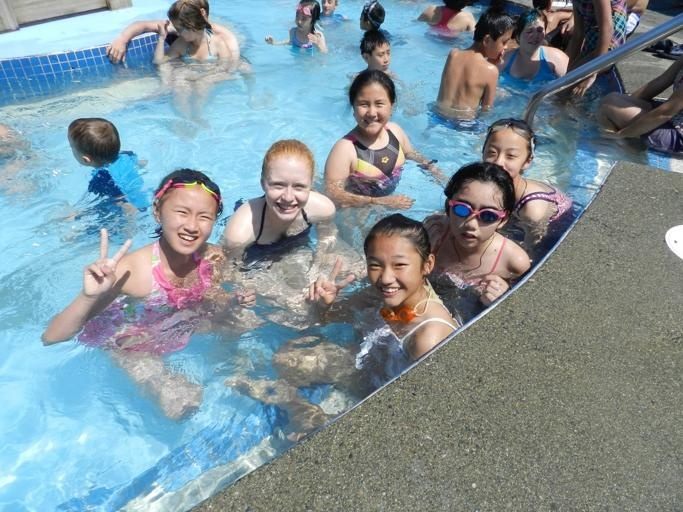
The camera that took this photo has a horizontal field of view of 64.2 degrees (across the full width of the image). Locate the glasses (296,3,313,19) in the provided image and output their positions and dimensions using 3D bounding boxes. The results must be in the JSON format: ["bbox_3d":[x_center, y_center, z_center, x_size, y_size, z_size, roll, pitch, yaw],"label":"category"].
[{"bbox_3d":[-0.569,-3.742,8.316,0.248,0.196,0.076,27,42,31],"label":"glasses"}]

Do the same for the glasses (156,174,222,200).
[{"bbox_3d":[-1.180,-0.479,4.113,0.472,0.238,0.161,-7,51,-9],"label":"glasses"}]

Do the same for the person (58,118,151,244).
[{"bbox_3d":[-2.437,-0.702,5.512,0.587,1.244,0.687,21,54,-15],"label":"person"}]

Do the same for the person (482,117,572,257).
[{"bbox_3d":[1.685,-0.623,4.912,0.858,1.158,0.838,0,25,12],"label":"person"}]
